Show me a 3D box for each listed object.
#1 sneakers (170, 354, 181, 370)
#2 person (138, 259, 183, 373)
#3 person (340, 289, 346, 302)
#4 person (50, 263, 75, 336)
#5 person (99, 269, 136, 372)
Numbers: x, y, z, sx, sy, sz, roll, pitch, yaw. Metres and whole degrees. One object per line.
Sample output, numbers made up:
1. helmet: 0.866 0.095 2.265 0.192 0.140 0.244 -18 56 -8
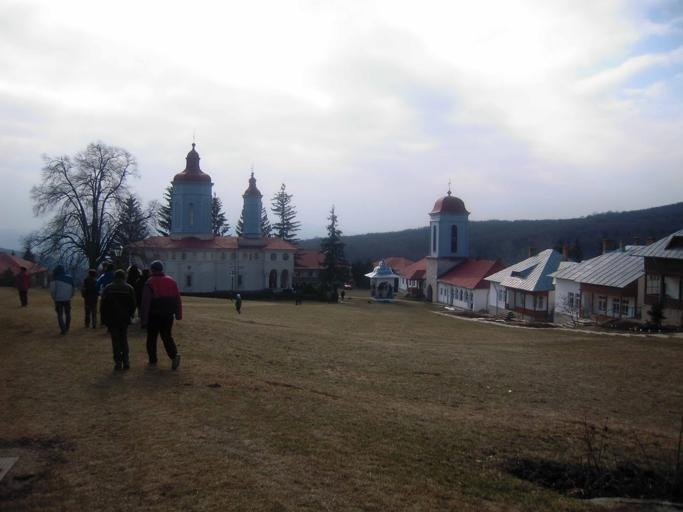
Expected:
1. sneakers: -3.919 2.504 15.179 0.173 0.397 0.156 -2 -7 33
2. person: -4.258 1.333 15.246 0.936 2.536 1.190 4 9 -15
3. person: 0.112 3.611 62.414 0.352 1.223 0.367 -3 -11 3
4. person: -8.056 1.212 18.482 0.574 2.093 1.252 2 9 -23
5. person: -5.262 1.505 15.044 0.799 2.076 1.272 3 9 -19
